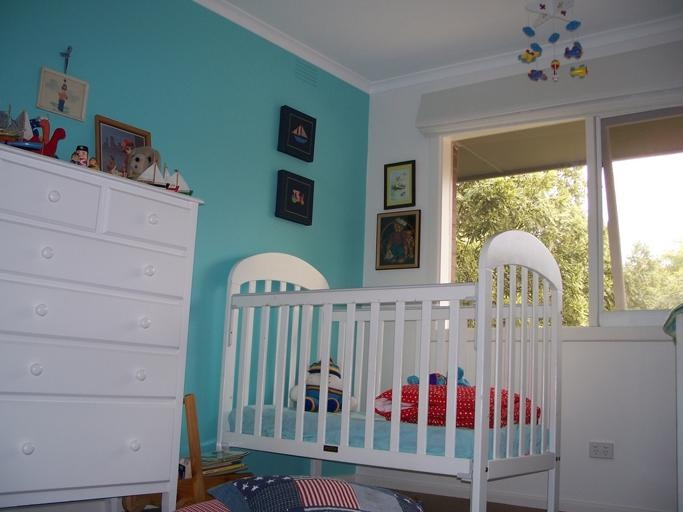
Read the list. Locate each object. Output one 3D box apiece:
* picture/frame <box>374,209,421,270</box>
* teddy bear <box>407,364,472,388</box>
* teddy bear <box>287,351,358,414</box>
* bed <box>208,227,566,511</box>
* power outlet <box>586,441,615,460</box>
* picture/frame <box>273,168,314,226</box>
[{"bbox_3d":[0.445,-0.117,3.925,0.412,0.527,0.023,-3,-8,39],"label":"picture/frame"},{"bbox_3d":[0.524,0.685,2.840,0.256,0.109,0.223,-5,-10,7],"label":"teddy bear"},{"bbox_3d":[-0.100,0.723,2.798,0.368,0.375,0.230,7,-29,1],"label":"teddy bear"},{"bbox_3d":[0.240,0.557,3.241,2.117,1.822,1.359,-6,-10,41],"label":"bed"},{"bbox_3d":[1.531,1.145,3.005,0.148,0.115,0.092,-4,-11,34],"label":"power outlet"},{"bbox_3d":[-0.346,-0.400,3.528,0.048,0.382,0.351,-6,-10,44],"label":"picture/frame"}]
